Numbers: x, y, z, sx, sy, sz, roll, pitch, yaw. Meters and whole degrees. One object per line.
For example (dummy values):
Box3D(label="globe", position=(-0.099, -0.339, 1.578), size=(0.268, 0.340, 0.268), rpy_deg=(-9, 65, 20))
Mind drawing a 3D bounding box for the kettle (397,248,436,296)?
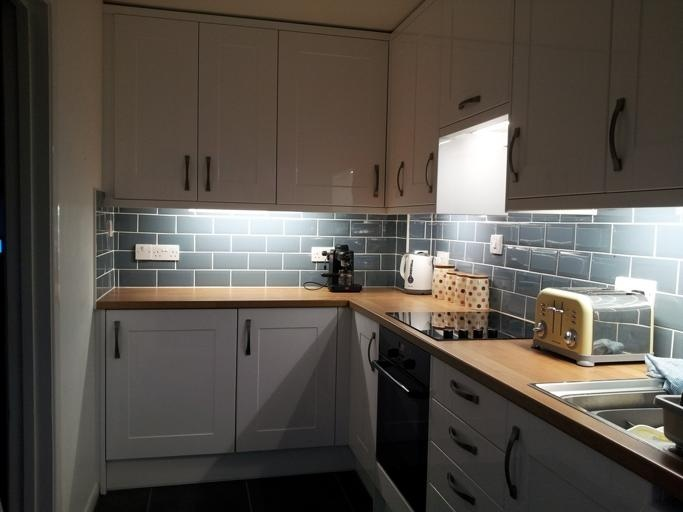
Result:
Box3D(label="kettle", position=(0.510, 0.115, 3.402), size=(0.233, 0.281, 0.209), rpy_deg=(3, 1, 8))

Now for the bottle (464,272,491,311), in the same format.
Box3D(label="bottle", position=(0.743, 0.210, 2.832), size=(0.137, 0.172, 0.144), rpy_deg=(4, -2, 0))

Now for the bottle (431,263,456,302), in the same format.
Box3D(label="bottle", position=(0.605, 0.163, 3.127), size=(0.161, 0.288, 0.177), rpy_deg=(5, 3, 22))

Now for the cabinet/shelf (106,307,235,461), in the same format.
Box3D(label="cabinet/shelf", position=(-0.910, 0.589, 3.271), size=(0.932, 1.219, 0.717), rpy_deg=(0, -2, -12))

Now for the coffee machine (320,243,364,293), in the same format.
Box3D(label="coffee machine", position=(0.002, 0.093, 3.444), size=(0.198, 0.308, 0.257), rpy_deg=(-1, 0, -16))

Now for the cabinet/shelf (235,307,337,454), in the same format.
Box3D(label="cabinet/shelf", position=(-0.341, 0.735, 3.387), size=(0.703, 1.178, 0.728), rpy_deg=(1, -2, -12))

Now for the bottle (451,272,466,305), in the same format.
Box3D(label="bottle", position=(0.677, 0.190, 2.924), size=(0.028, 0.182, 0.142), rpy_deg=(-2, 5, -11))

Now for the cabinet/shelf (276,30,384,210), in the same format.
Box3D(label="cabinet/shelf", position=(-0.074, -0.860, 3.669), size=(0.895, 1.495, 0.889), rpy_deg=(1, -2, -9))

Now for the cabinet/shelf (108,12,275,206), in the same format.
Box3D(label="cabinet/shelf", position=(-0.928, -0.886, 3.059), size=(0.999, 1.151, 0.411), rpy_deg=(0, 0, -11))

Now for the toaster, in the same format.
Box3D(label="toaster", position=(0.963, 0.246, 1.985), size=(0.268, 0.243, 0.303), rpy_deg=(2, 1, -8))
